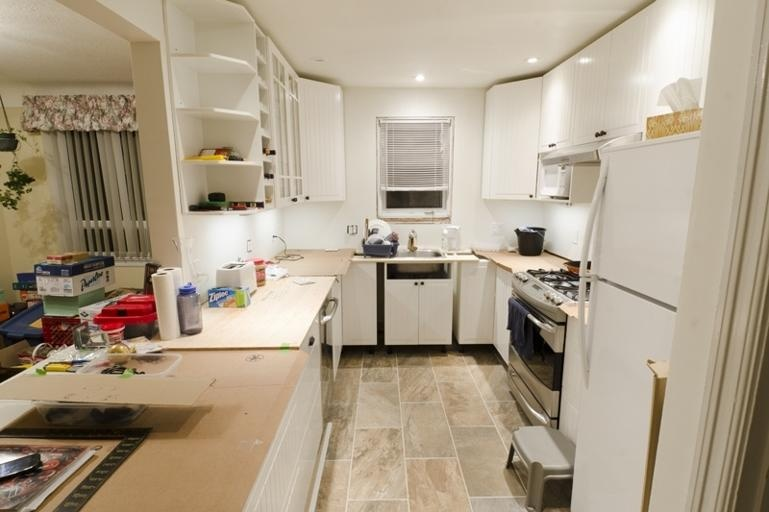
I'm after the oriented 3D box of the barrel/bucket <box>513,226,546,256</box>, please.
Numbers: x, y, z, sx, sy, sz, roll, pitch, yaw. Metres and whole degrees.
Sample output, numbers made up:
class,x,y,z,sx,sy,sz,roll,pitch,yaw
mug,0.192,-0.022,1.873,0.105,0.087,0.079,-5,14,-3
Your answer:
class,x,y,z,sx,sy,sz,roll,pitch,yaw
barrel/bucket,1.351,-0.131,4.738,0.269,0.202,0.252,-2,6,0

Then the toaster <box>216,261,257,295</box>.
class,x,y,z,sx,sy,sz,roll,pitch,yaw
toaster,-1.016,0.168,3.454,0.243,0.225,0.220,-1,10,0

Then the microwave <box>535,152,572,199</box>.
class,x,y,z,sx,sy,sz,roll,pitch,yaw
microwave,1.453,-0.637,4.264,0.191,0.352,0.382,-6,11,-17

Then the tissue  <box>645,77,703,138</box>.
class,x,y,z,sx,sy,sz,roll,pitch,yaw
tissue ,1.347,-0.687,2.393,0.223,0.296,0.017,-7,43,24

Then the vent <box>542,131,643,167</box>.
class,x,y,z,sx,sy,sz,roll,pitch,yaw
vent,1.363,-0.696,3.378,0.299,0.157,0.692,-1,5,-8

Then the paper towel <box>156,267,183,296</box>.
class,x,y,z,sx,sy,sz,roll,pitch,yaw
paper towel,-1.192,0.119,2.910,0.148,0.166,0.151,-8,26,-32

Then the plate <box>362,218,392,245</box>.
class,x,y,z,sx,sy,sz,roll,pitch,yaw
plate,-0.058,-0.217,4.869,0.279,0.259,0.213,-16,22,-22

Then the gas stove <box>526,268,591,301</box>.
class,x,y,z,sx,sy,sz,roll,pitch,yaw
gas stove,1.270,0.190,3.723,0.462,0.174,0.489,1,10,-3
